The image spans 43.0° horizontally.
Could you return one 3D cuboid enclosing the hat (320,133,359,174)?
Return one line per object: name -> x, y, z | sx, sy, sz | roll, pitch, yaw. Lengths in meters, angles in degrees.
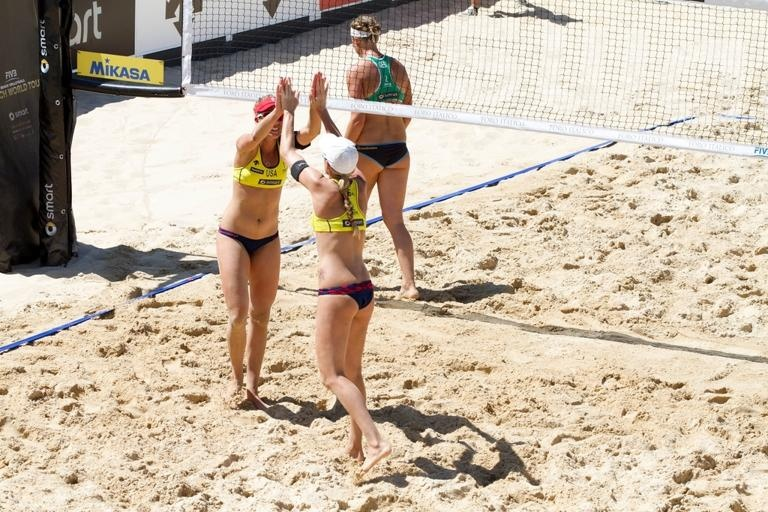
hat -> -0.371, -0.780, 7.749 | 0.255, 0.172, 0.329 | -7, 64, -26
